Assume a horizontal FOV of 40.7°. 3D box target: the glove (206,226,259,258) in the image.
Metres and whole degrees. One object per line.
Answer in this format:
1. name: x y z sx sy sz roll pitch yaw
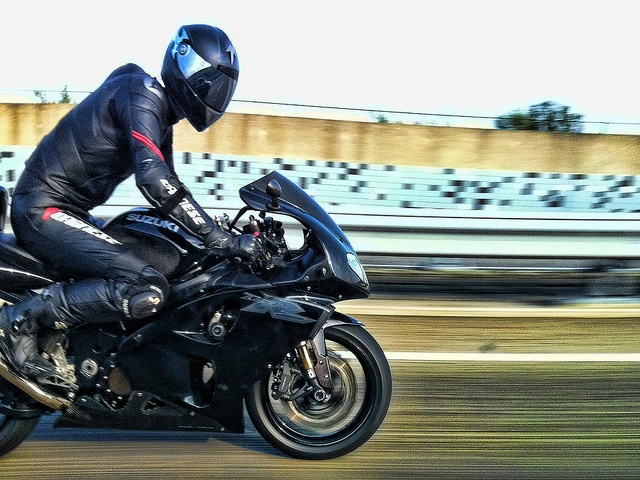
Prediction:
1. glove: -0.639 0.025 6.309 0.407 0.226 0.066 5 0 1
